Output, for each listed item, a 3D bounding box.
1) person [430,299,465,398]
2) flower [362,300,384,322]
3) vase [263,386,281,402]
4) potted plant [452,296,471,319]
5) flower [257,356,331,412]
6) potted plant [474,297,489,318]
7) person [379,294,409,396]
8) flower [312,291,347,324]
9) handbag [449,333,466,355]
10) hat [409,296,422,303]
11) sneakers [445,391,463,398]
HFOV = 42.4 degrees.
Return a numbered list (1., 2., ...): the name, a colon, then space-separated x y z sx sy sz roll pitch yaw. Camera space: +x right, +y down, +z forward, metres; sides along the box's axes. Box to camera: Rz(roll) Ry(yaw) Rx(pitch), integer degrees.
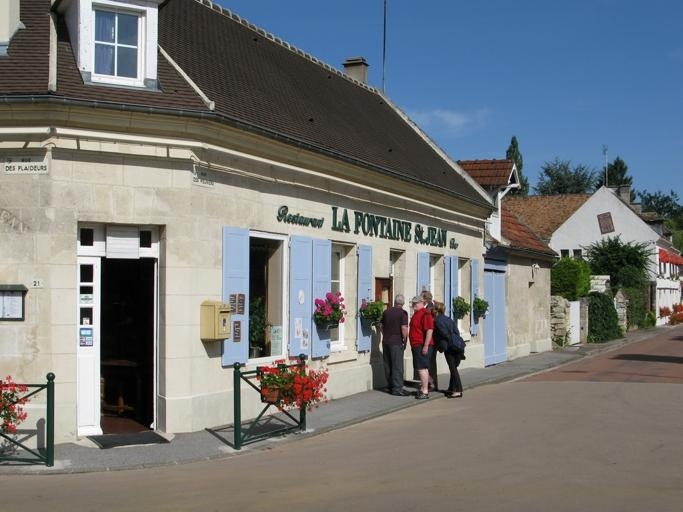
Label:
1. person: 2.241 1.935 18.394 0.633 2.000 0.688 -2 -6 6
2. flower: 0.645 1.145 18.571 0.397 0.336 0.435 1 -1 -7
3. vase: -1.165 2.241 14.221 0.342 0.270 0.128 -6 -7 33
4. potted plant: 3.067 1.303 22.543 0.477 0.622 0.569 -1 -2 27
5. flower: -0.986 2.089 14.635 1.036 0.610 1.171 3 11 30
6. potted plant: 3.702 1.370 23.532 0.526 0.604 0.479 2 -4 -23
7. person: 1.134 1.950 18.365 0.543 1.877 0.351 -3 -6 18
8. flower: -0.222 1.064 17.437 0.543 0.533 0.674 5 -4 -39
9. handbag: 2.403 1.824 18.162 0.396 0.443 0.166 4 -8 -42
10. hat: 1.593 0.923 18.843 0.190 0.109 0.300 -3 -2 24
11. sneakers: 2.340 2.886 18.326 0.384 0.172 0.125 5 -4 5
